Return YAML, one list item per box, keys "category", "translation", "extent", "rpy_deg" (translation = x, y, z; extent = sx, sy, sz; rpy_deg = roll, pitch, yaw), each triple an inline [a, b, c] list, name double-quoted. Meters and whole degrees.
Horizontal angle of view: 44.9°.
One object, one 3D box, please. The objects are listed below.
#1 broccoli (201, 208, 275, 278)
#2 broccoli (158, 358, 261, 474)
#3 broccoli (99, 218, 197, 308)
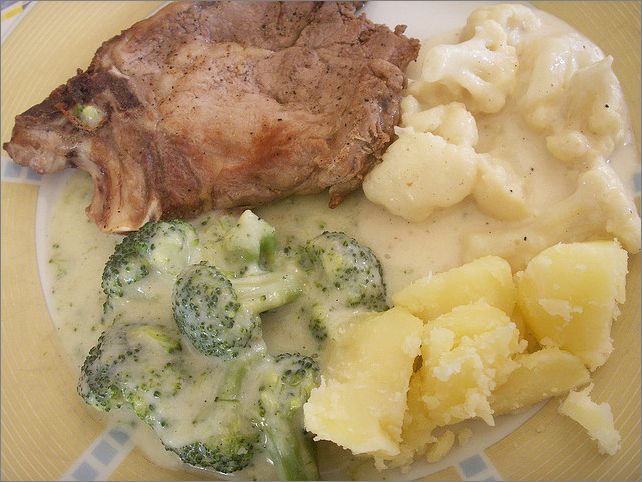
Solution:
- category: "broccoli"
  translation: [-0.371, -0.058, 3.363]
  extent: [0.269, 0.220, 0.123]
  rpy_deg: [2, 76, 12]
- category: "broccoli"
  translation: [-0.412, 0.709, 3.134]
  extent: [0.389, 0.112, 0.426]
  rpy_deg: [21, 87, 8]
- category: "broccoli"
  translation: [-0.740, 0.111, 3.423]
  extent: [0.384, 0.143, 0.289]
  rpy_deg: [-38, 83, 3]
